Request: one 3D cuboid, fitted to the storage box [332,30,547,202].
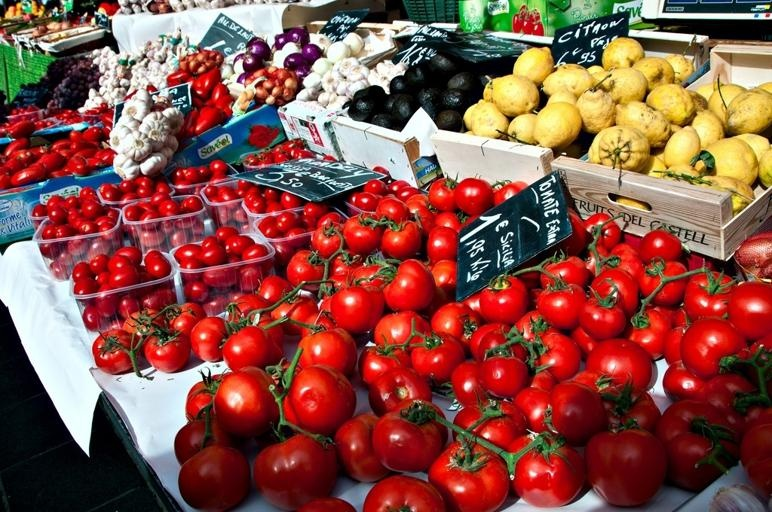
[{"bbox_3d":[0.324,-1.186,3.701,1.314,0.403,1.256,27,70,35],"label":"storage box"}]

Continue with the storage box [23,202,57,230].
[{"bbox_3d":[-2.340,-0.285,3.476,0.172,0.174,0.189,-11,25,-31],"label":"storage box"}]

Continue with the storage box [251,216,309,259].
[{"bbox_3d":[-0.607,-0.149,3.052,0.283,0.186,0.316,-19,41,-15],"label":"storage box"}]

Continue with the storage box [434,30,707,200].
[{"bbox_3d":[1.095,-0.902,3.271,1.246,0.399,1.143,-31,32,-1],"label":"storage box"}]

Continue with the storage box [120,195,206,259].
[{"bbox_3d":[-1.424,-0.228,3.294,0.453,0.260,0.339,-16,29,-27],"label":"storage box"}]

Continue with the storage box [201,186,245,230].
[{"bbox_3d":[-1.108,-0.330,3.523,0.268,0.209,0.342,-16,29,-27],"label":"storage box"}]
